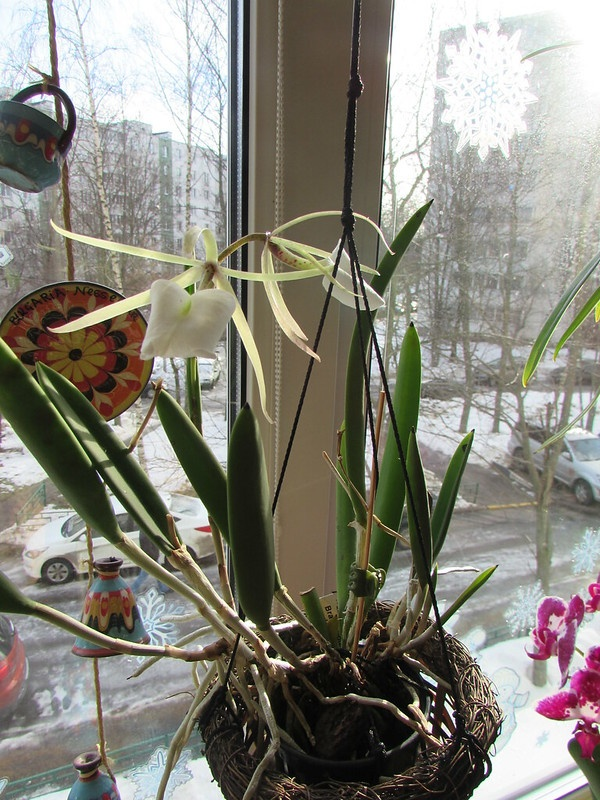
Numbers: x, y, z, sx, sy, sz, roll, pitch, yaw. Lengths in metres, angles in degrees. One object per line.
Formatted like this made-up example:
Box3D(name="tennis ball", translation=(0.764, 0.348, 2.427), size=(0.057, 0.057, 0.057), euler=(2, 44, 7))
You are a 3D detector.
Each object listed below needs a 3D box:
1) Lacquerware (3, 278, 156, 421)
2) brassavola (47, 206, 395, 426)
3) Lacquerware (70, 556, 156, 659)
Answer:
Box3D(name="Lacquerware", translation=(-0.219, -0.053, 0.583), size=(0.150, 0.141, 0.021), euler=(11, 5, -25))
Box3D(name="brassavola", translation=(-0.074, -0.117, 0.518), size=(0.249, 0.113, 0.241), euler=(-14, 3, -25))
Box3D(name="Lacquerware", translation=(-0.207, 0.213, 0.594), size=(0.082, 0.086, 0.077), euler=(3, -8, -7))
